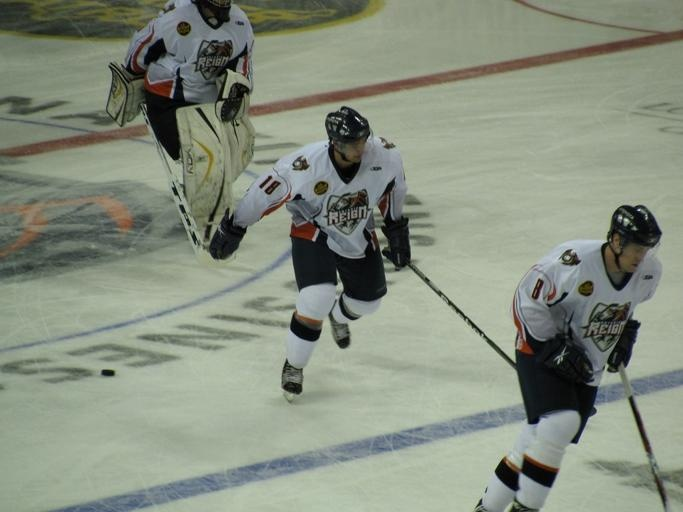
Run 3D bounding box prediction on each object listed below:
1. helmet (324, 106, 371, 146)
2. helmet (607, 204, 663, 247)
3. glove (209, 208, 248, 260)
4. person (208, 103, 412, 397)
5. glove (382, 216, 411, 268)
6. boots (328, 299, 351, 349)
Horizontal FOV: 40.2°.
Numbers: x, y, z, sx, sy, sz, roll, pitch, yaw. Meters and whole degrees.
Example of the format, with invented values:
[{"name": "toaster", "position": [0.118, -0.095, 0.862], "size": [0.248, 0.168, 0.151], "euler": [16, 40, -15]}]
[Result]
[{"name": "helmet", "position": [0.032, -0.681, 5.083], "size": [0.284, 0.205, 0.241], "euler": [13, 25, 24]}, {"name": "helmet", "position": [1.387, -0.118, 4.344], "size": [0.237, 0.195, 0.175], "euler": [-11, 1, 20]}, {"name": "glove", "position": [-0.661, -0.088, 5.436], "size": [0.184, 0.299, 0.122], "euler": [43, 4, 30]}, {"name": "person", "position": [-0.131, -0.077, 5.482], "size": [0.970, 1.631, 0.690], "euler": [-19, 32, -39]}, {"name": "glove", "position": [0.345, -0.053, 5.634], "size": [0.205, 0.282, 0.123], "euler": [-1, -12, -24]}, {"name": "boots", "position": [0.000, 0.454, 5.727], "size": [0.115, 0.309, 0.128], "euler": [-13, 9, -7]}]
